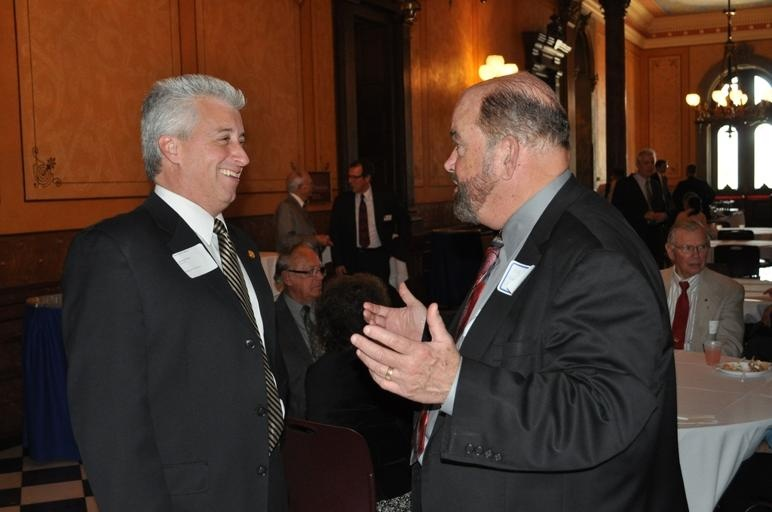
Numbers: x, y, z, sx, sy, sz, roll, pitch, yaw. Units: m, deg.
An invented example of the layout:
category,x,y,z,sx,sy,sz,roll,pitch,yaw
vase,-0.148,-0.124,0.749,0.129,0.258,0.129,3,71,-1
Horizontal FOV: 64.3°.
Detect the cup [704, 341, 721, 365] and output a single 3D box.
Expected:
category,x,y,z,sx,sy,sz,roll,pitch,yaw
cup,1.907,0.558,3.575,0.116,0.136,0.116,1,0,0
